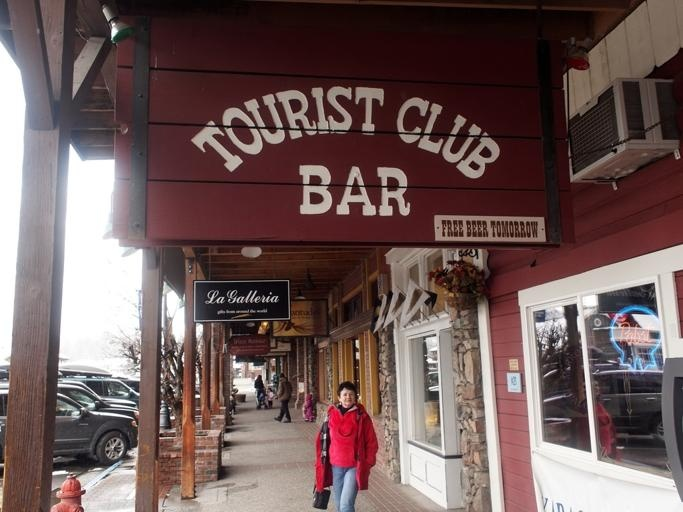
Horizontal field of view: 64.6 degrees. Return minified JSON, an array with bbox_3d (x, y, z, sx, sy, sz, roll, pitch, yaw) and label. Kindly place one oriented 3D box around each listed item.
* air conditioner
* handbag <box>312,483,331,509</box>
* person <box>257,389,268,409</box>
[{"bbox_3d":[2.096,-0.921,4.081,0.482,0.612,0.650,3,-9,-14],"label":"air conditioner"},{"bbox_3d":[-0.245,2.819,6.279,0.174,0.313,0.388,1,-9,-4],"label":"handbag"},{"bbox_3d":[-4.365,7.841,29.681,0.590,0.918,1.681,2,-10,-9],"label":"person"}]
